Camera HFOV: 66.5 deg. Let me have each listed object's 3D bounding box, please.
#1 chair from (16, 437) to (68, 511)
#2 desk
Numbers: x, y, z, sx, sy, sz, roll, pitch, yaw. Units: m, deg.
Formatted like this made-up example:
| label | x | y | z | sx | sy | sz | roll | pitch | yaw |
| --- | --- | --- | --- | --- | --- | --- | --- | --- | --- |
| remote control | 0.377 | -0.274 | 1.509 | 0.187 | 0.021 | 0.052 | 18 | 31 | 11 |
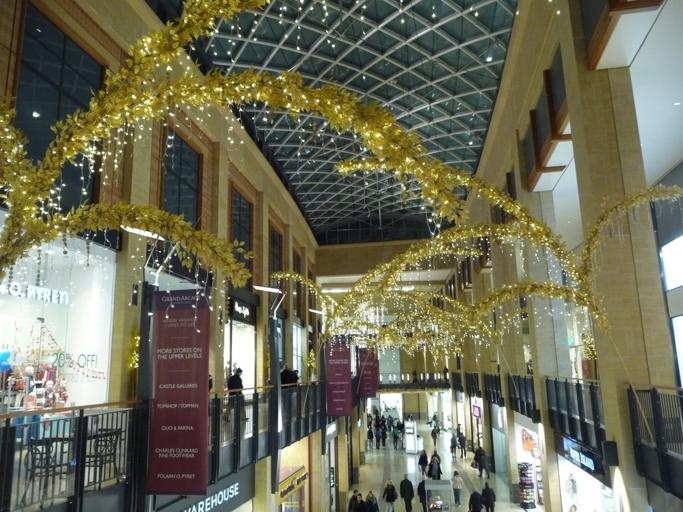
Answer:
| label | x | y | z | sx | sy | sz | roll | pitch | yaw |
| --- | --- | --- | --- | --- | --- | --- | --- | --- | --- |
| chair | -4.764 | 3.410 | 8.269 | 0.730 | 1.183 | 0.776 | 7 | -18 | -13 |
| desk | -4.555 | 3.481 | 8.695 | 0.329 | 0.921 | 1.548 | -3 | -24 | 7 |
